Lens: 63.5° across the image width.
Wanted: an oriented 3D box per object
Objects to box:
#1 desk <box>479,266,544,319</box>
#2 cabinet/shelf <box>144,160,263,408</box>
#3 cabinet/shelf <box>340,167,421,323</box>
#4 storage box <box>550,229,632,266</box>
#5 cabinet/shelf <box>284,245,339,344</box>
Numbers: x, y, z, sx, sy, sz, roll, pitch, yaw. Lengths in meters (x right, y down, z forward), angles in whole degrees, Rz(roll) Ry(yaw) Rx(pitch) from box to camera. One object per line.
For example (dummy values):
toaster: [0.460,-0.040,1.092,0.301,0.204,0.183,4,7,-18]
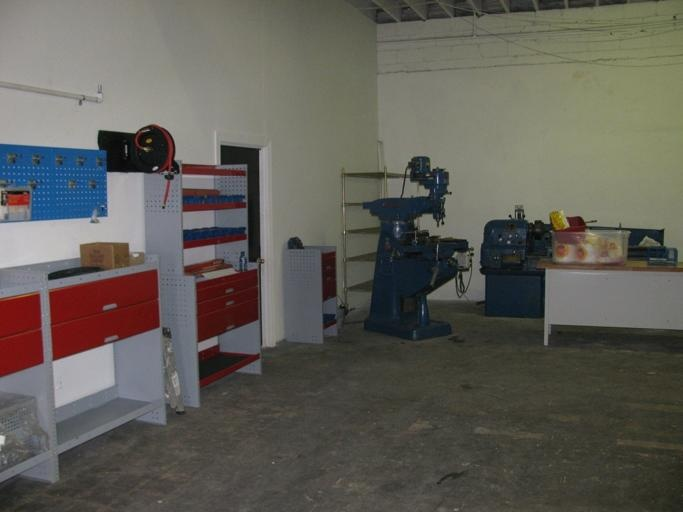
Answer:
desk: [2.297,0.466,7.466,0.670,0.640,0.694,-1,-1,7]
cabinet/shelf: [-1.260,0.198,4.953,0.579,2.030,1.164,3,10,24]
cabinet/shelf: [0.471,-0.092,7.446,0.668,2.010,2.040,1,6,10]
storage box: [2.732,-0.091,6.065,0.563,0.262,0.447,0,1,14]
cabinet/shelf: [-0.361,0.448,6.499,0.674,1.082,0.520,-3,9,-14]
